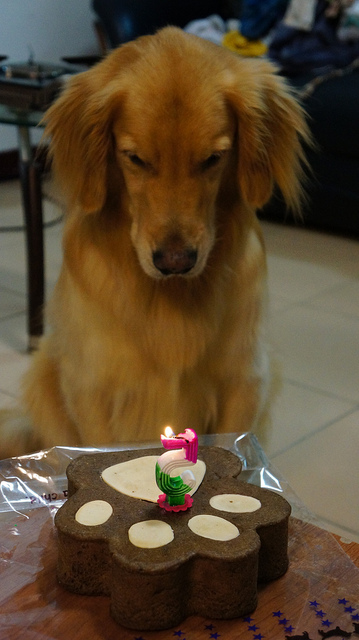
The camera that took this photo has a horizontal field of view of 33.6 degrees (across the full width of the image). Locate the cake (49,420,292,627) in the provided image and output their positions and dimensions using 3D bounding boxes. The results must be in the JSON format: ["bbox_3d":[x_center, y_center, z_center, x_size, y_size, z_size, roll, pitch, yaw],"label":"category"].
[{"bbox_3d":[-0.025,0.229,0.694,0.215,0.154,0.273,16,4,39],"label":"cake"}]

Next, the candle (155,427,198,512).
[{"bbox_3d":[-0.004,0.172,0.683,0.044,0.083,0.049,0,13,-2],"label":"candle"}]

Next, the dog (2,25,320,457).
[{"bbox_3d":[-0.070,-0.086,1.141,0.624,0.846,0.324,2,13,5],"label":"dog"}]
